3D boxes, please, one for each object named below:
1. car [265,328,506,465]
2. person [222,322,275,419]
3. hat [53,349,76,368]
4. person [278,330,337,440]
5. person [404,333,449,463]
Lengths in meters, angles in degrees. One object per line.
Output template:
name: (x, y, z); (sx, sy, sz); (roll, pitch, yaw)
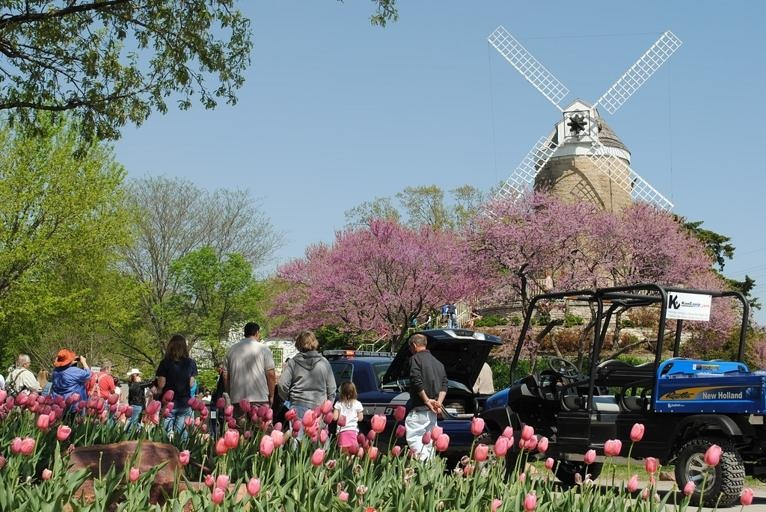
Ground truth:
car: (0.820, 2.383, 14.608); (1.950, 2.110, 3.337); (3, -4, -38)
person: (-2.215, 2.223, 13.341); (0.782, 2.232, 0.616); (3, 9, 4)
hat: (-5.929, 1.924, 14.853); (0.286, 0.362, 0.683); (11, -13, -22)
person: (-1.223, 2.216, 12.832); (0.912, 2.043, 0.688); (-1, 16, -16)
person: (0.701, 2.164, 12.641); (0.631, 1.815, 0.438); (5, -11, 2)
